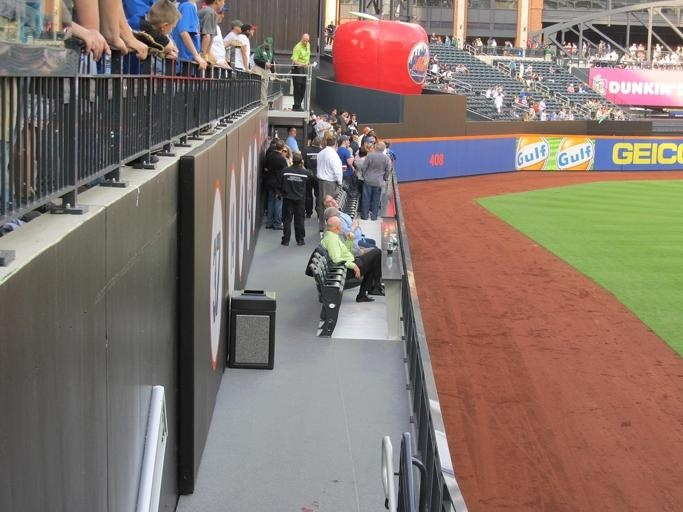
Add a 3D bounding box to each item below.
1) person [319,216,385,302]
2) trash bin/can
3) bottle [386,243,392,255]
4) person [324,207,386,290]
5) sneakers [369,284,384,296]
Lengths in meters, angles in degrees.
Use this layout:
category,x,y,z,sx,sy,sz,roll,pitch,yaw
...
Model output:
category,x,y,z,sx,sy,sz,roll,pitch,yaw
person,0.203,0.059,11.382,0.862,1.617,0.656,-19,14,-16
trash bin/can,-1.139,0.955,8.543,0.691,1.185,0.637,3,21,-4
bottle,0.801,-0.089,11.171,0.122,0.178,0.127,-1,2,0
person,0.214,0.052,11.317,0.870,1.563,0.670,-17,15,-8
sneakers,0.620,0.606,11.939,0.379,0.175,0.125,-9,15,-30
